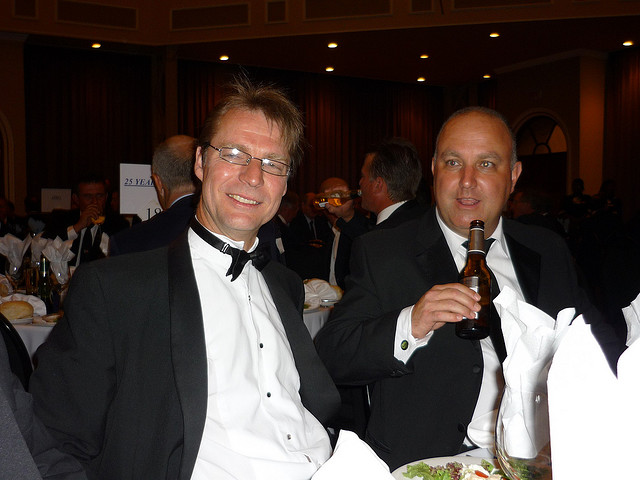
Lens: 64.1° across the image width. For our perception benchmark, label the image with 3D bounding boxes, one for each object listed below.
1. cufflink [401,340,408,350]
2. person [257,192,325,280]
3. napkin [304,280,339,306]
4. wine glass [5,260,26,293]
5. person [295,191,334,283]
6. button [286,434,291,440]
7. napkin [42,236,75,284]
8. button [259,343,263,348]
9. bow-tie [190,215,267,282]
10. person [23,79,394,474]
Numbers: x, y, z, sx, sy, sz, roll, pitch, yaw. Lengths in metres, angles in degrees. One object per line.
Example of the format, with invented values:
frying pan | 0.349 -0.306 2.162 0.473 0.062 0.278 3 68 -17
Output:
cufflink | 0.282 0.349 1.690 0.025 0.032 0.008 2 4 -6
person | -0.229 -0.025 4.819 0.389 0.382 1.225 -16 -24 -4
napkin | 0.016 0.384 3.700 0.195 0.055 0.167 5 30 -13
wine glass | -2.165 0.259 3.652 0.115 0.429 0.107 -2 17 -35
person | -0.062 -0.010 6.448 0.406 0.412 1.403 -7 41 5
button | -0.095 0.612 1.581 0.016 0.018 0.002 0 5 -38
napkin | -1.718 0.136 3.369 0.177 0.285 0.258 0 4 -28
button | -0.183 0.334 1.610 0.002 0.011 0.011 -4 -3 32
bow-tie | -0.300 0.038 1.714 0.194 0.107 0.161 24 12 34
person | -0.349 0.079 1.572 0.940 1.261 0.516 0 4 -31
